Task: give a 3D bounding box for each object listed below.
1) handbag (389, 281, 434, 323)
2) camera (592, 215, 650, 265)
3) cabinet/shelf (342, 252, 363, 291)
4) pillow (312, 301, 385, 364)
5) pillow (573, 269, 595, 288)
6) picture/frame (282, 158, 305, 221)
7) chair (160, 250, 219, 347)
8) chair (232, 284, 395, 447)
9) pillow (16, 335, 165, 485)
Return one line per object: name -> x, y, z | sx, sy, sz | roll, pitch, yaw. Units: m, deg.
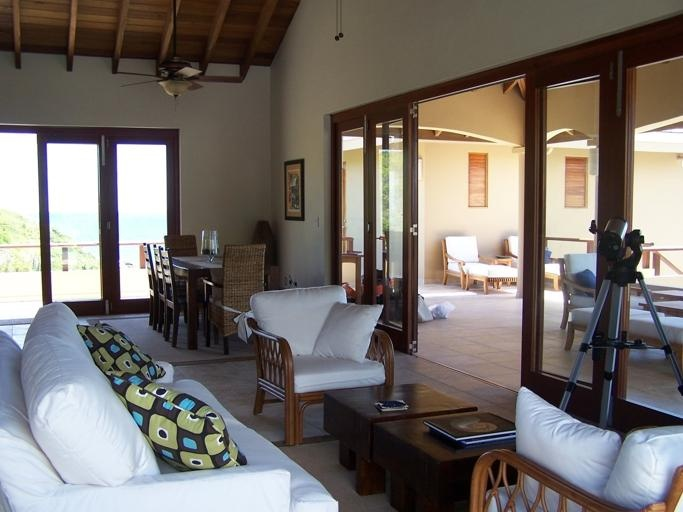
handbag -> 1.141, 0.673, 7.762 | 0.341, 0.707, 0.546 | -11, -6, 19
camera -> 1.649, -0.090, 3.098 | 0.241, 0.182, 0.398 | 8, 37, 23
cabinet/shelf -> 0.114, 0.229, 7.253 | 0.411, 0.520, 0.487 | 1, 8, 14
pillow -> 0.050, 0.571, 3.886 | 0.423, 0.457, 0.133 | 2, -27, 40
pillow -> 1.892, 0.179, 4.027 | 0.106, 0.121, 0.048 | -6, -8, 15
picture/frame -> -0.737, -1.060, 8.188 | 0.081, 1.262, 0.991 | 0, 0, -26
chair -> -1.908, 0.359, 6.628 | 0.818, 1.177, 1.632 | 0, 1, -23
chair -> -0.188, 0.792, 3.945 | 0.897, 0.986, 1.107 | 1, -1, -18
pillow -> -0.971, 0.723, 2.077 | 0.361, 0.587, 0.774 | -10, 23, -22
